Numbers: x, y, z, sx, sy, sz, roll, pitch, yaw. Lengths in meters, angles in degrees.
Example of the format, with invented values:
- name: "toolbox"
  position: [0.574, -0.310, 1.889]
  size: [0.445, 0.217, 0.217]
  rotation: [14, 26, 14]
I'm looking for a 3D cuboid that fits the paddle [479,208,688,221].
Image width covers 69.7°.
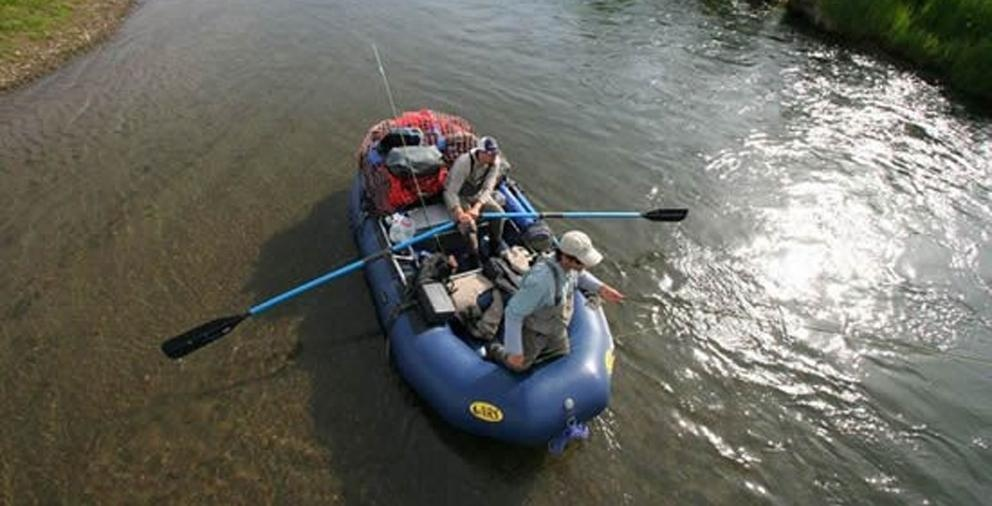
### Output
- name: "paddle"
  position: [2.504, -1.117, 18.438]
  size: [2.982, 0.653, 0.574]
  rotation: [-3, 87, 6]

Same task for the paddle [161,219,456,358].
- name: "paddle"
  position: [-4.701, 1.011, 18.190]
  size: [8.271, 0.475, 0.643]
  rotation: [-23, 95, -15]
